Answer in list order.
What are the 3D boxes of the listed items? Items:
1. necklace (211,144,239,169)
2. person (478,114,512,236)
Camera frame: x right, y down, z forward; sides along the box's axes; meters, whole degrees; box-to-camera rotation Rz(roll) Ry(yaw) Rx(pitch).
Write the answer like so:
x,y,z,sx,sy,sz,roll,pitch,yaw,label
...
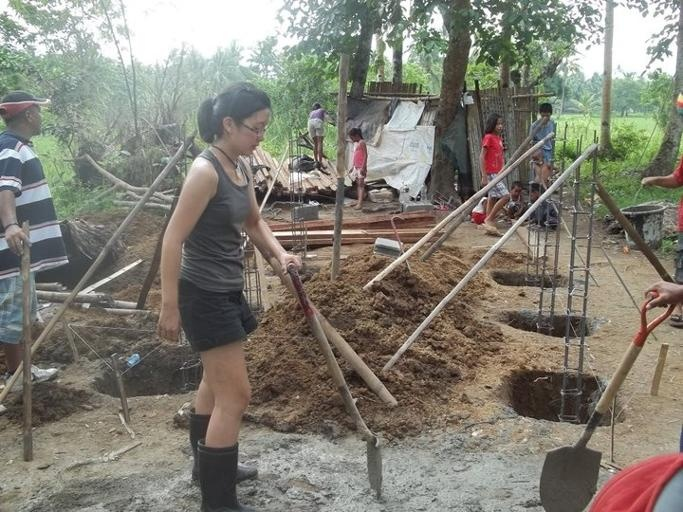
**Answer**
x,y,z,sx,sy,sz,roll,pitch,yaw,label
-0.817,-0.684,4.355,0.145,0.040,0.147,45,-19,2,necklace
2.706,-1.383,10.983,0.529,2.050,1.393,3,6,14,person
